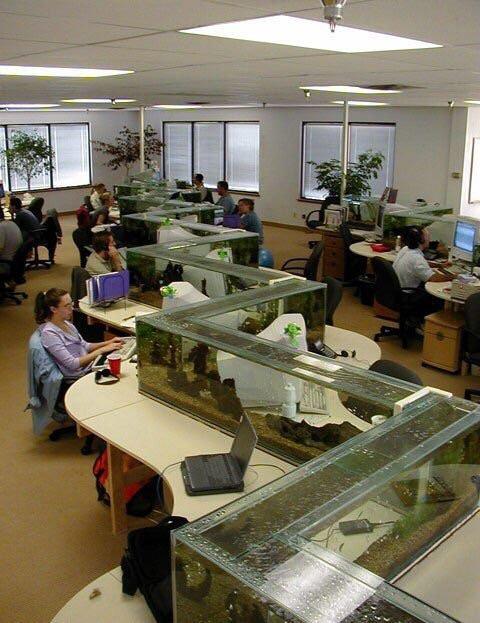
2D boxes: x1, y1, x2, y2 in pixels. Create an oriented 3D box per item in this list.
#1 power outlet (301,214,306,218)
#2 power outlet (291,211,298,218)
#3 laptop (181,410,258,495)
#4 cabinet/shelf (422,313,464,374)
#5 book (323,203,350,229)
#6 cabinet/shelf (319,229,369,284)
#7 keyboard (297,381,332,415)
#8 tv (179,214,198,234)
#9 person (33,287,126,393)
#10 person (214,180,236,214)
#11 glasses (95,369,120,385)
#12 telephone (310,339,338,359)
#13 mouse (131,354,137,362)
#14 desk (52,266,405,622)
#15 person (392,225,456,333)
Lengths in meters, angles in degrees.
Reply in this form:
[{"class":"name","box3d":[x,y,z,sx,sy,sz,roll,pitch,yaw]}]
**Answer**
[{"class":"power outlet","box3d":[1.626,-2.464,12.219,0.103,0.095,0.054,21,18,18]},{"class":"power outlet","box3d":[1.414,-2.532,12.435,0.146,0.143,0.012,14,13,43]},{"class":"laptop","box3d":[-0.086,0.531,2.068,0.357,0.358,0.388,-8,31,-5]},{"class":"cabinet/shelf","box3d":[2.258,0.366,5.084,0.504,0.571,0.508,10,14,30]},{"class":"book","box3d":[1.641,-1.631,8.144,0.399,0.437,0.402,8,10,14]},{"class":"cabinet/shelf","box3d":[1.768,-0.977,8.132,0.528,0.806,0.618,14,30,32]},{"class":"keyboard","box3d":[0.320,0.364,2.011,0.148,0.165,0.026,20,42,33]},{"class":"tv","box3d":[-0.679,-1.148,6.096,0.250,0.116,0.332,1,27,4]},{"class":"person","box3d":[-1.192,0.255,3.616,0.604,0.841,0.398,-3,19,-3]},{"class":"person","box3d":[-0.273,-2.202,9.253,0.392,0.668,1.240,5,9,-1]},{"class":"glasses","box3d":[-0.879,0.416,3.081,0.097,0.038,0.117,-1,19,-13]},{"class":"telephone","box3d":[0.588,0.279,3.323,0.117,0.207,0.075,-58,18,-22]},{"class":"mouse","box3d":[-0.749,0.331,3.354,0.045,0.011,0.050,0,25,4]},{"class":"desk","box3d":[-0.315,0.576,2.597,1.983,0.886,1.383,-16,37,-26]},{"class":"person","box3d":[2.207,-0.394,5.792,0.800,1.251,0.623,10,30,16]}]
